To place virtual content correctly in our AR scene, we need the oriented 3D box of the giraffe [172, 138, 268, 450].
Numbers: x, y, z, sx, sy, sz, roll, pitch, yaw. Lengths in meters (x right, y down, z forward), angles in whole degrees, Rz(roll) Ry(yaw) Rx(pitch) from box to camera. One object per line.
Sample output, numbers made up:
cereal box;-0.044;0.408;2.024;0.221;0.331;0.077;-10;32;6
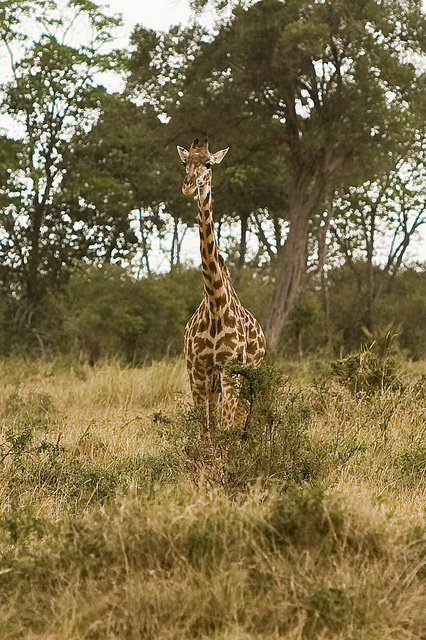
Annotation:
giraffe;0.045;-0.258;9.096;0.813;2.426;3.348;5;0;2
